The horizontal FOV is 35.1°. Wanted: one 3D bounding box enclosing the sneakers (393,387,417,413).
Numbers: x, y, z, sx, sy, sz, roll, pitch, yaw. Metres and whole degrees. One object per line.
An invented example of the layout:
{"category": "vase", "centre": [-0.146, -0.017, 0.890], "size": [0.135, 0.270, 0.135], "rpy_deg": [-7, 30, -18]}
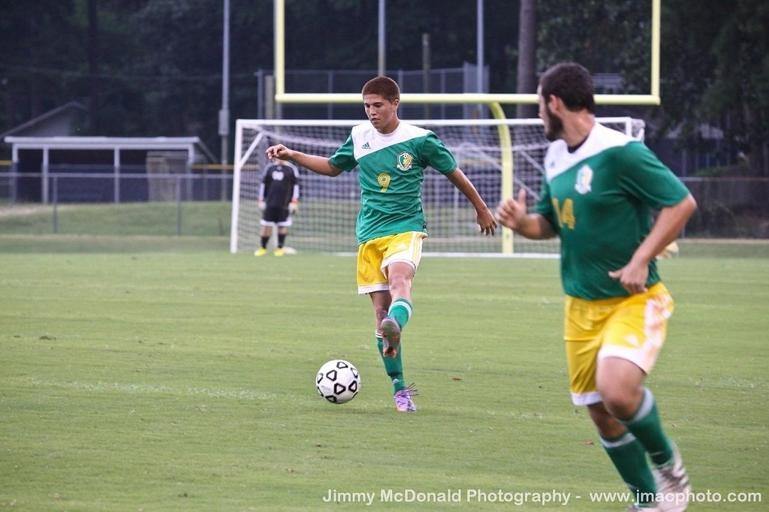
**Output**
{"category": "sneakers", "centre": [0.247, 1.586, 13.518], "size": [0.237, 0.242, 0.203], "rpy_deg": [-1, 5, -8]}

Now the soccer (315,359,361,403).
{"category": "soccer", "centre": [-0.540, 1.432, 13.686], "size": [0.590, 0.473, 0.544], "rpy_deg": [-6, 3, -5]}

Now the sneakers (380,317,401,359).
{"category": "sneakers", "centre": [0.071, 0.896, 13.366], "size": [0.193, 0.454, 0.209], "rpy_deg": [1, 29, 1]}

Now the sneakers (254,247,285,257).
{"category": "sneakers", "centre": [-2.099, -0.078, 22.193], "size": [0.590, 0.208, 0.195], "rpy_deg": [1, -3, -11]}
